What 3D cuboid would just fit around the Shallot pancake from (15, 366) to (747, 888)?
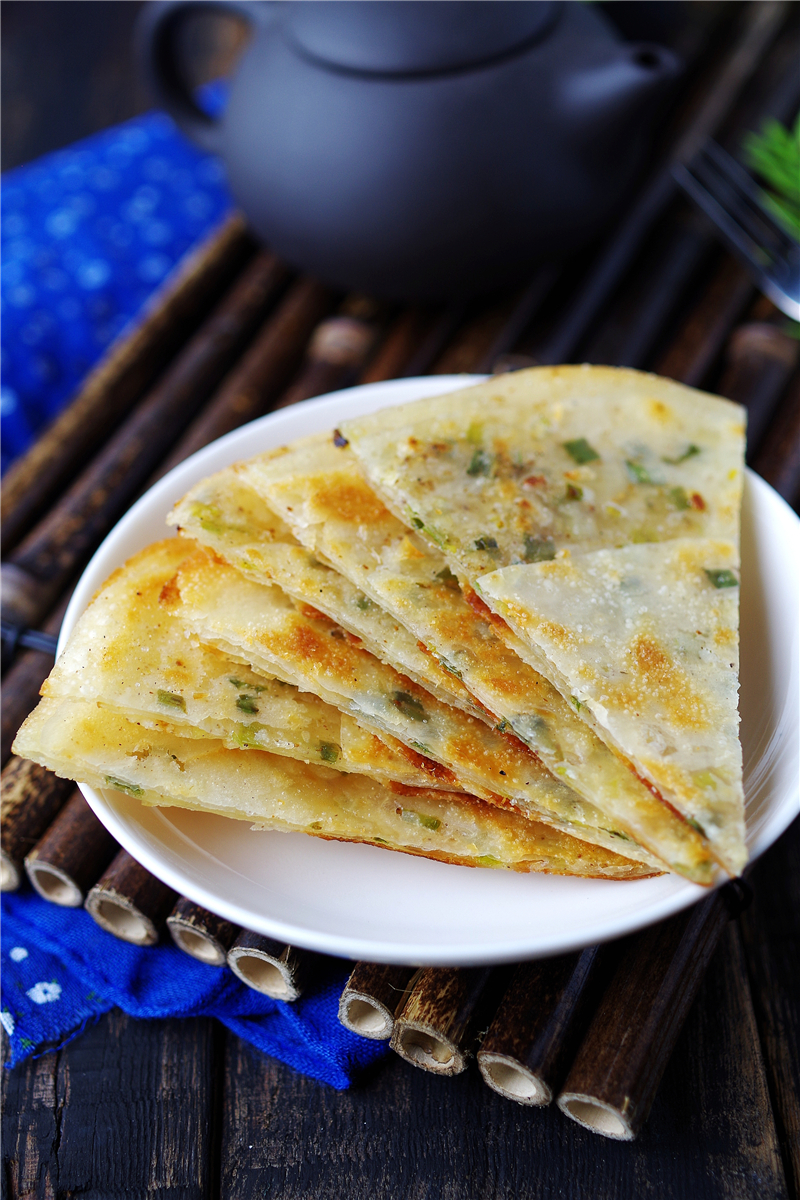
[{"bbox_3d":[0.056,0.027,1.496,0.738,0.173,0.686,-43,64,-15],"label":"Shallot pancake"}]
